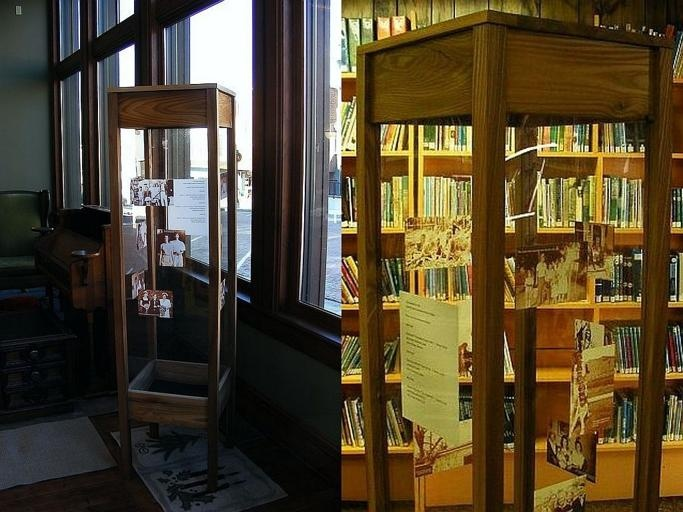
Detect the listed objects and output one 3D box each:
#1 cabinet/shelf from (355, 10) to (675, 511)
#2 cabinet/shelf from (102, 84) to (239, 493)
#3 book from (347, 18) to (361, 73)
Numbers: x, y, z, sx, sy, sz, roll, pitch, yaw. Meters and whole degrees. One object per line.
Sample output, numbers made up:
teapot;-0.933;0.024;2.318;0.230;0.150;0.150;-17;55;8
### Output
cabinet/shelf;0.385;0.077;1.395;0.706;1.139;0.394;1;13;-5
cabinet/shelf;-0.808;0.147;3.205;0.492;1.934;0.562;-1;-3;5
book;0.047;-0.949;2.759;0.056;0.176;0.175;-4;27;-5
